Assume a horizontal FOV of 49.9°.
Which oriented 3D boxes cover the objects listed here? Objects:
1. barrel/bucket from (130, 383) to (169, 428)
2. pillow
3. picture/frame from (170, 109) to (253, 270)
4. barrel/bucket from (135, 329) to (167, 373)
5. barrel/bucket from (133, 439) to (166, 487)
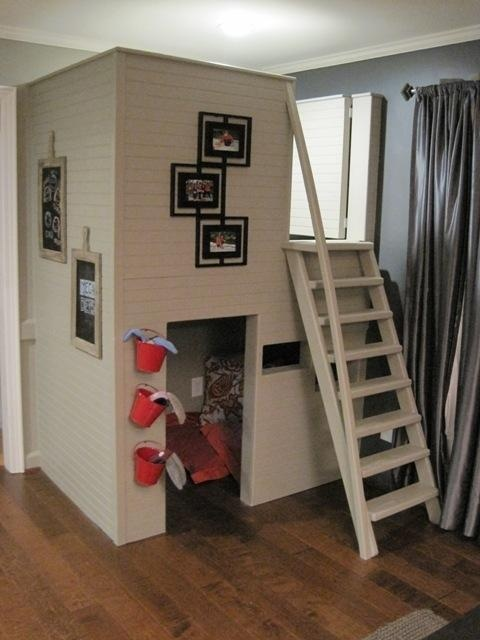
[{"bbox_3d":[-0.413,0.407,2.365,0.155,0.214,0.179,4,3,29],"label":"barrel/bucket"},{"bbox_3d":[-0.110,0.506,3.718,0.416,0.396,0.126,4,2,-13],"label":"pillow"},{"bbox_3d":[-0.123,-0.615,2.433,0.479,0.733,0.087,0,4,-43],"label":"picture/frame"},{"bbox_3d":[-0.401,0.136,2.327,0.153,0.138,0.158,9,8,-1],"label":"barrel/bucket"},{"bbox_3d":[-0.407,0.691,2.401,0.163,0.227,0.172,2,3,0],"label":"barrel/bucket"}]
